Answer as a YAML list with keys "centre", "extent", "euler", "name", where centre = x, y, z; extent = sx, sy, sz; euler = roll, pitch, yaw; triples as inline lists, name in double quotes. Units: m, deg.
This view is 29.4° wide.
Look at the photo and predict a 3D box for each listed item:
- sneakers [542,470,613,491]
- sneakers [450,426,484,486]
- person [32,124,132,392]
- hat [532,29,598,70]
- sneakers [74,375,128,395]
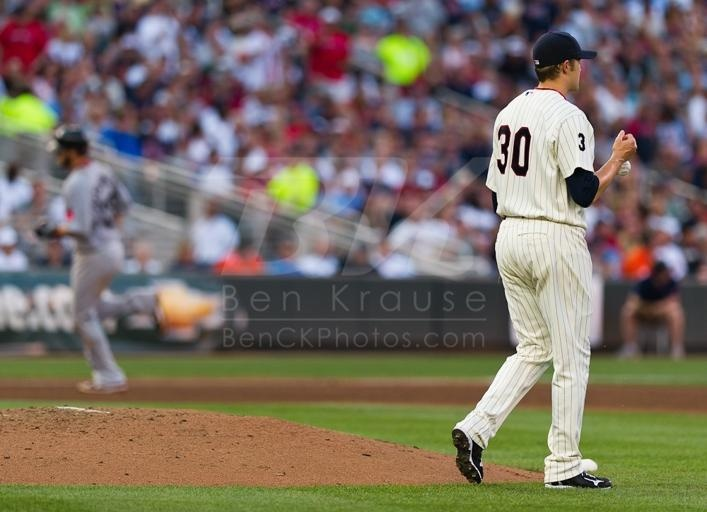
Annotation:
- centre: [1.709, 1.717, 10.431]
  extent: [0.542, 0.210, 0.180]
  euler: [-3, -3, 0]
  name: "sneakers"
- centre: [0.886, 1.555, 10.486]
  extent: [0.182, 0.489, 0.244]
  euler: [-11, 11, 44]
  name: "sneakers"
- centre: [-2.475, 0.026, 12.618]
  extent: [0.696, 2.472, 0.412]
  euler: [1, 5, -13]
  name: "person"
- centre: [1.651, -1.657, 10.573]
  extent: [0.564, 0.278, 0.358]
  euler: [-10, 15, 1]
  name: "hat"
- centre: [-2.400, 1.213, 12.715]
  extent: [0.503, 0.211, 0.167]
  euler: [5, -5, -4]
  name: "sneakers"
